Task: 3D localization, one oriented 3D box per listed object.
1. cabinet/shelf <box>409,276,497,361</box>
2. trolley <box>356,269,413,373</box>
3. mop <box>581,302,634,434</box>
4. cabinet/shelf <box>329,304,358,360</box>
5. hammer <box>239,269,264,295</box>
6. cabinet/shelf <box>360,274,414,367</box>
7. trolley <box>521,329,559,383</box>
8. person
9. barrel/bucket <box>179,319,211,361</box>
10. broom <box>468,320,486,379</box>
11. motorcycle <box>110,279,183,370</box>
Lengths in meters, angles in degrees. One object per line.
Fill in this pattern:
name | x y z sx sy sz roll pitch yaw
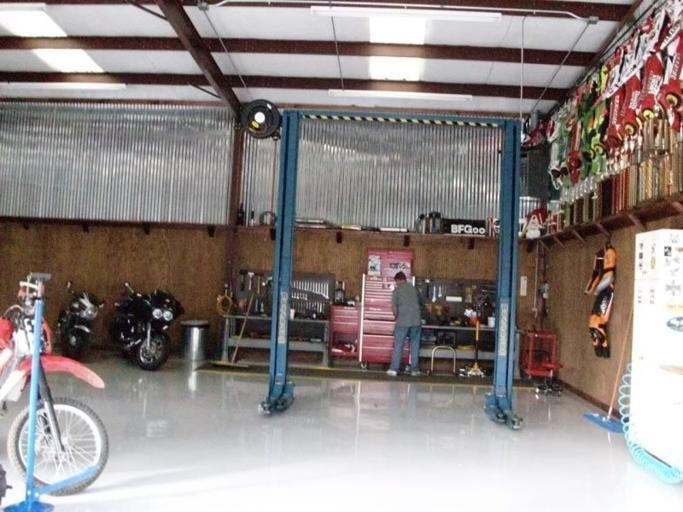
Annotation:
cabinet/shelf | 2.029 1.171 11.912 1.300 1.458 0.462 1 0 5
trolley | 0.667 1.159 12.108 0.778 1.712 0.527 3 0 7
mop | 3.683 1.552 9.112 0.317 1.603 0.557 2 0 1
cabinet/shelf | 0.075 1.271 12.159 0.612 0.923 0.687 6 17 12
hammer | -1.689 0.456 12.429 0.409 0.464 0.107 4 2 -1
cabinet/shelf | 0.678 1.116 12.203 0.781 1.639 0.518 3 0 9
trolley | 3.413 1.707 11.348 0.383 0.866 0.631 3 -1 -1
person | 1.103 1.165 11.506 0.487 1.805 0.511 2 -9 -14
barrel/bucket | -2.631 1.479 12.078 0.580 0.714 0.592 2 4 0
broom | 2.428 1.575 11.768 0.304 1.064 0.855 2 6 12
motorcycle | -3.250 1.155 11.030 1.000 1.636 0.887 2 -2 -38
